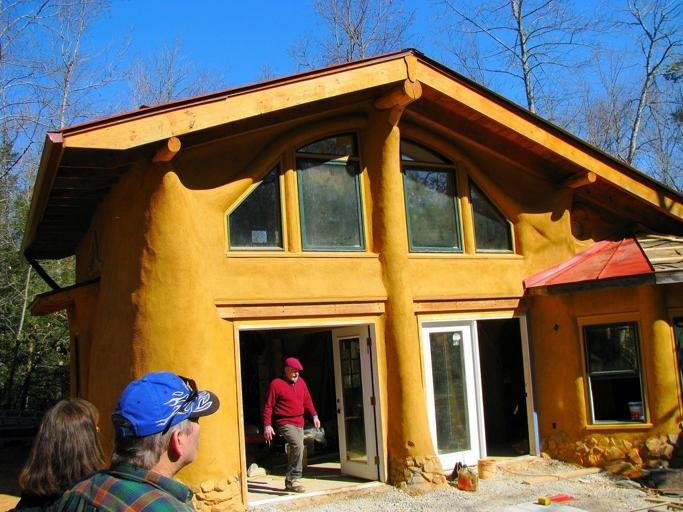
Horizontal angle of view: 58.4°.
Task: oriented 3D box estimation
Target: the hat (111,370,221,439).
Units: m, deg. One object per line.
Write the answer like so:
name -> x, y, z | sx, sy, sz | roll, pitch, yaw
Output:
hat -> -1.211, 0.940, 4.130 | 0.547, 0.304, 0.411 | -12, 11, -28

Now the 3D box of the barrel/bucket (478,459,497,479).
barrel/bucket -> 2.480, 3.562, 10.307 | 0.257, 0.292, 0.258 | 0, -7, 0

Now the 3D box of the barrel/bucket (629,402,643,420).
barrel/bucket -> 5.040, 2.632, 10.422 | 0.234, 0.235, 0.248 | 0, -6, 0

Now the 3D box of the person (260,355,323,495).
person -> -0.791, 2.737, 9.958 | 0.794, 2.007, 1.041 | -2, 0, 4
